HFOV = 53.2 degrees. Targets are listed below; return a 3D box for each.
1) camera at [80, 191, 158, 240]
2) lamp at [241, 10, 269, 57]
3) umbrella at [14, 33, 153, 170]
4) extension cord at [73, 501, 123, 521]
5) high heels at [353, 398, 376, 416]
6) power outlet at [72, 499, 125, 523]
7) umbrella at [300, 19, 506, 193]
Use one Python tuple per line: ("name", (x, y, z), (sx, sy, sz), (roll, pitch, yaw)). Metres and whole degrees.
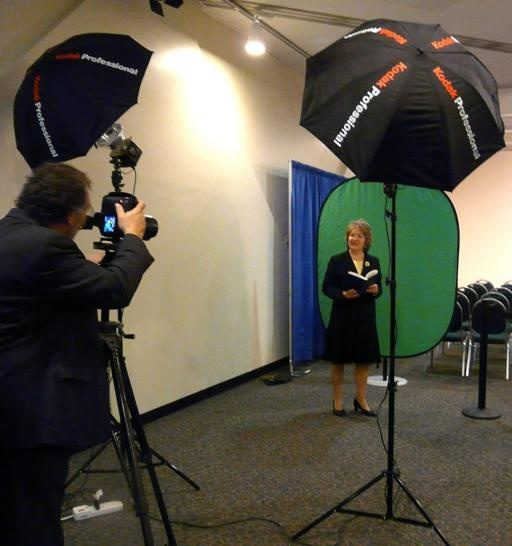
("camera", (-0.474, -0.193, 1.798), (0.238, 0.150, 0.130), (4, -6, -4))
("lamp", (-0.023, -1.994, 4.231), (0.152, 0.372, 0.158), (24, -47, -20))
("umbrella", (-0.696, -0.687, 2.107), (0.533, 0.627, 0.198), (-15, -15, 25))
("extension cord", (-0.619, 0.914, 1.988), (0.160, 0.044, 0.097), (5, -11, -29))
("high heels", (0.782, 0.981, 3.719), (0.190, 0.116, 0.065), (-2, -5, 43))
("power outlet", (-0.610, 0.929, 1.996), (0.174, 0.048, 0.104), (4, -8, -29))
("umbrella", (0.525, -0.587, 1.819), (0.726, 0.592, 0.275), (0, 2, 5))
